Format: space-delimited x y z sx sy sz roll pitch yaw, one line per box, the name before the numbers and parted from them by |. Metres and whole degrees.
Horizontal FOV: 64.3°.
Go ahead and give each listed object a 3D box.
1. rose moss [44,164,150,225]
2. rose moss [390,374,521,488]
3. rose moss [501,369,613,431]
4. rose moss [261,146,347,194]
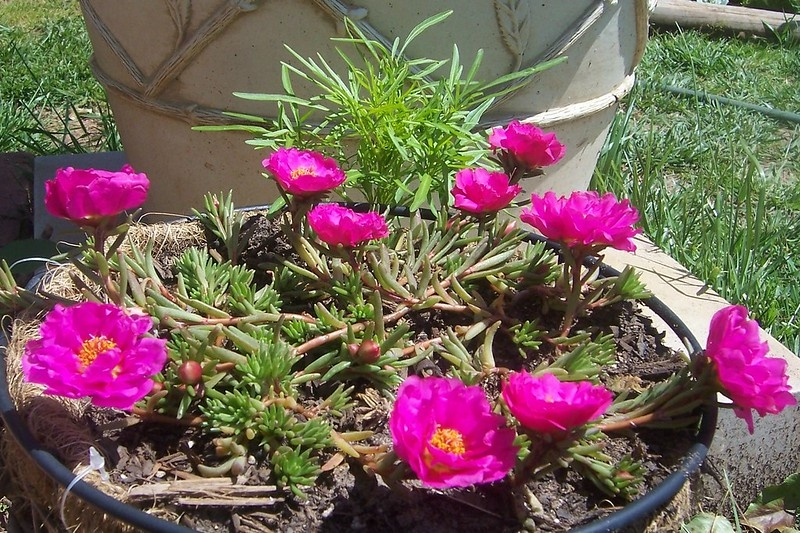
rose moss | -0.535 -0.127 1.124 0.115 0.073 0.135 2 -6 25
rose moss | 0.079 0.272 0.988 0.197 0.119 0.152 25 37 16
rose moss | 0.245 0.180 0.995 0.118 0.060 0.116 2 1 -35
rose moss | -0.178 -0.184 1.246 0.114 0.055 0.127 38 35 21
